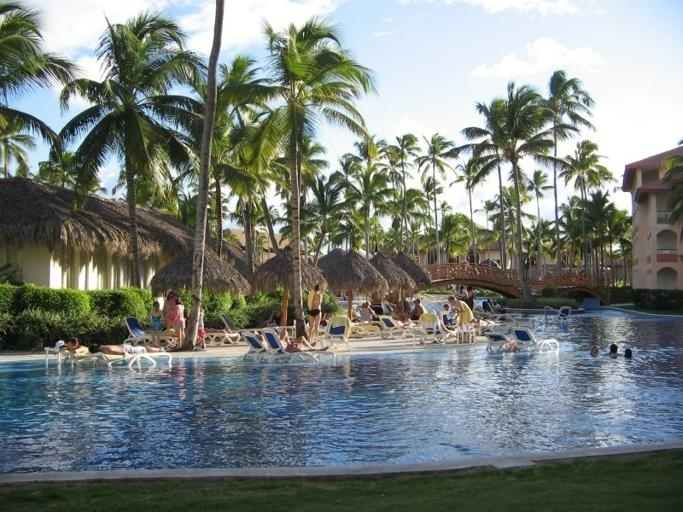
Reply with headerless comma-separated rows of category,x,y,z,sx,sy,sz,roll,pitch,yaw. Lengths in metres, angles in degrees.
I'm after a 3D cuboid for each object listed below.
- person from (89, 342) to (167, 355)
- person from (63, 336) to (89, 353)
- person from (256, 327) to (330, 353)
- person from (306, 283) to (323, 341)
person,-6.049,2.616,16.686,1.884,0.268,0.960,7,-12,-32
person,-7.665,2.602,17.144,0.574,0.299,0.773,5,-6,-22
person,-1.388,2.432,17.128,1.181,0.652,1.667,-8,-13,40
person,-0.857,1.985,20.562,0.463,2.075,0.600,8,5,40
